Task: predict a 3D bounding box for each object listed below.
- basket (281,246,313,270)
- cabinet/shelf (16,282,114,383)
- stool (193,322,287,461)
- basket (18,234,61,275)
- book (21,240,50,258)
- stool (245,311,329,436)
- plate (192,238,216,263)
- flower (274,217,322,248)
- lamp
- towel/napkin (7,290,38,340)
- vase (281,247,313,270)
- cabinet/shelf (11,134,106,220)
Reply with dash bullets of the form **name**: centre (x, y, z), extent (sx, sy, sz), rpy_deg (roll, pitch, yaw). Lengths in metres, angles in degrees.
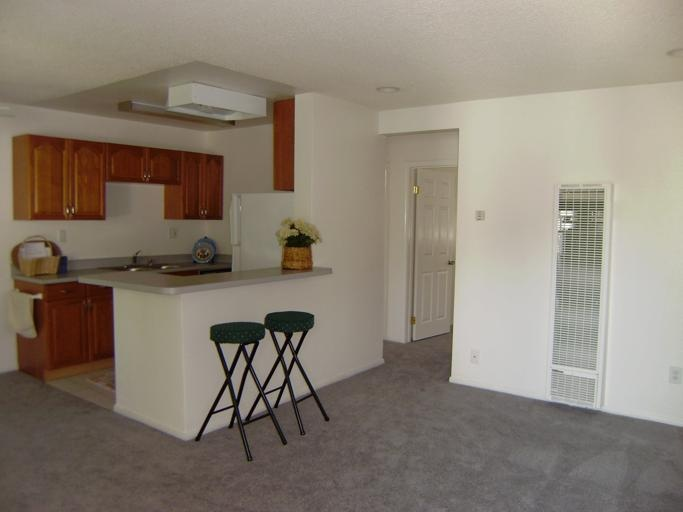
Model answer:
- **basket**: centre (-0.401, 0.016, 4.947), extent (0.221, 0.147, 0.219), rpy_deg (0, 1, -44)
- **cabinet/shelf**: centre (-3.068, 0.713, 5.758), extent (0.777, 1.096, 1.239), rpy_deg (6, 6, -4)
- **stool**: centre (-0.797, 0.982, 3.999), extent (0.639, 0.859, 0.670), rpy_deg (-5, -1, -38)
- **basket**: centre (-3.145, 0.007, 5.469), extent (0.445, 0.426, 0.331), rpy_deg (2, -1, -42)
- **book**: centre (-3.201, -0.073, 5.491), extent (0.067, 0.168, 0.173), rpy_deg (10, 10, 39)
- **stool**: centre (-0.538, 0.940, 4.410), extent (0.634, 0.957, 0.698), rpy_deg (-14, 11, -33)
- **plate**: centre (-1.792, -0.069, 6.897), extent (0.225, 0.296, 0.284), rpy_deg (6, 12, 26)
- **flower**: centre (-0.411, -0.205, 4.852), extent (0.292, 0.217, 0.302), rpy_deg (4, 4, 10)
- **lamp**: centre (-1.200, -1.454, 5.044), extent (0.489, 0.272, 0.869), rpy_deg (10, 14, 43)
- **towel/napkin**: centre (-3.180, 0.569, 5.272), extent (0.464, 0.472, 0.147), rpy_deg (7, 11, 34)
- **vase**: centre (-0.428, 0.025, 4.906), extent (0.219, 0.147, 0.222), rpy_deg (1, 1, 37)
- **cabinet/shelf**: centre (-2.830, -0.820, 5.693), extent (0.937, 0.885, 0.359), rpy_deg (4, 8, 7)
